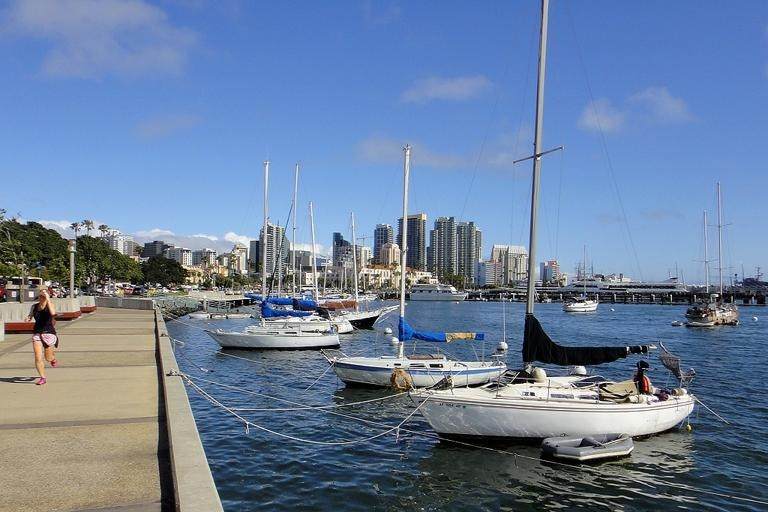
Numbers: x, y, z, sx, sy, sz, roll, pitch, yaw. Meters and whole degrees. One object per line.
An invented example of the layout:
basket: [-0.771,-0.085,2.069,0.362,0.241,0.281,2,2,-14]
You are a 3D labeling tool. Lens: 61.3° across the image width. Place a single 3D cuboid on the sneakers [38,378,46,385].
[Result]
sneakers: [-12.488,4.442,23.536,0.318,0.216,0.436,-1,5,-18]
